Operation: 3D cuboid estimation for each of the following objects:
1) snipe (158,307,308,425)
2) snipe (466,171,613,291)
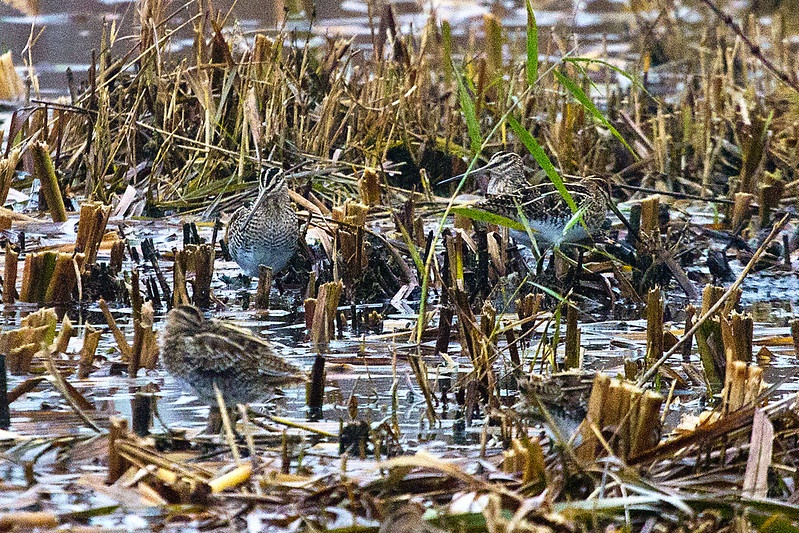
[{"bbox_3d":[-0.826,0.503,4.822,0.835,0.653,0.456,-5,-1,-9],"label":"snipe"},{"bbox_3d":[1.140,-0.413,7.768,1.279,0.576,0.913,9,69,-22],"label":"snipe"}]
